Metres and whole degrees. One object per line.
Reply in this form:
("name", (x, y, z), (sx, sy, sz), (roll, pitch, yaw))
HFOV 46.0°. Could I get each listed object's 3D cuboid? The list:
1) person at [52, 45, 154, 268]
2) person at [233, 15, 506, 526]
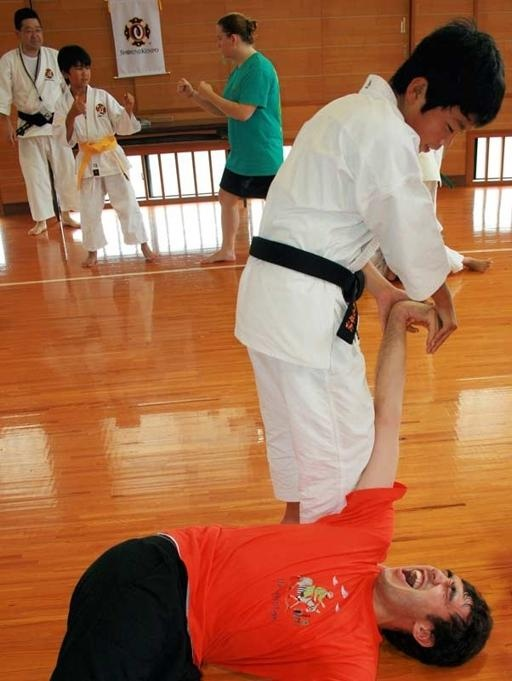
("person", (-0.975, -1.121, 3.838), (0.512, 1.320, 0.555), (-10, 19, -14))
("person", (0.207, -0.029, 1.214), (0.499, 1.080, 0.296), (-6, 19, -2))
